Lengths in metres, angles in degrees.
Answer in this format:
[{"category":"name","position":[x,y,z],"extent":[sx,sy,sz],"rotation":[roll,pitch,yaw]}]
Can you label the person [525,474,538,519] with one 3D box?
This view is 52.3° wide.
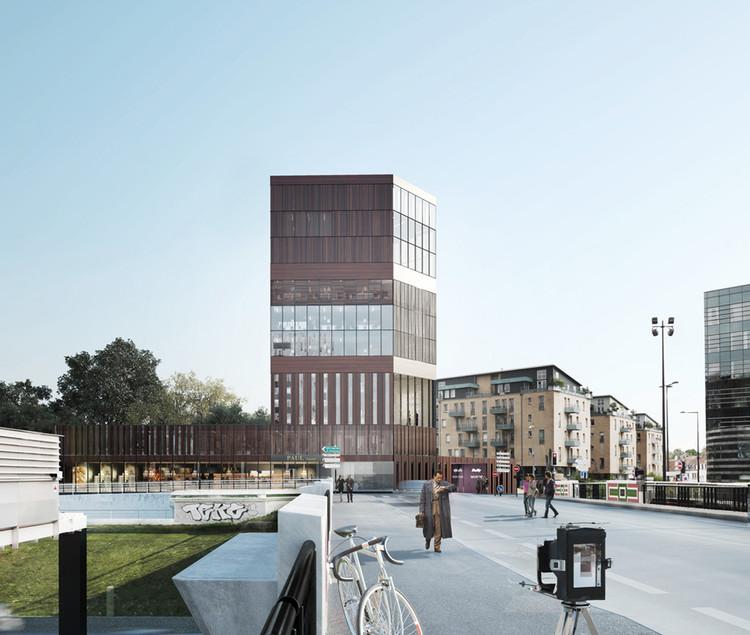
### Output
[{"category":"person","position":[6.469,7.435,31.866],"extent":[0.448,1.664,2.413],"rotation":[-3,-13,10]}]
